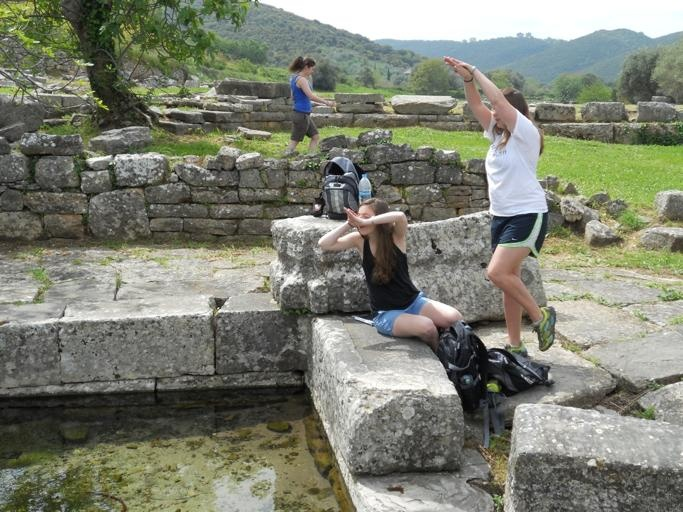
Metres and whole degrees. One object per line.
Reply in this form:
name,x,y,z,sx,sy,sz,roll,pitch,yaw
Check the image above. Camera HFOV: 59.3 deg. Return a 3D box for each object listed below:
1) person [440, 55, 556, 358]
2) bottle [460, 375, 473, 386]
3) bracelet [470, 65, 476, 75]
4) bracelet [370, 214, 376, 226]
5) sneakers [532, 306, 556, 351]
person,1.273,-0.360,4.626,0.674,2.209,0.833,-3,19,-2
bottle,0.920,0.903,4.364,0.091,0.074,0.035,-2,18,1
bracelet,0.991,-1.403,4.496,0.045,0.053,0.024,6,19,35
bracelet,0.258,-0.287,4.649,0.064,0.044,0.058,-1,-27,6
sneakers,1.549,0.543,4.627,0.205,0.360,0.140,-11,14,-29
